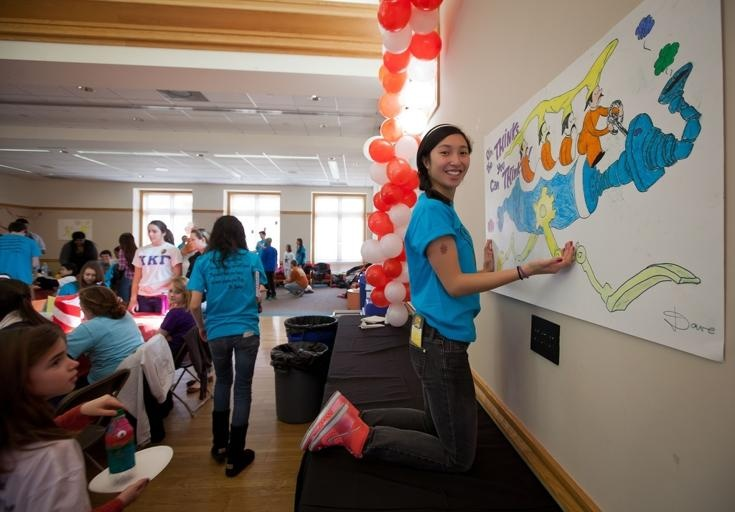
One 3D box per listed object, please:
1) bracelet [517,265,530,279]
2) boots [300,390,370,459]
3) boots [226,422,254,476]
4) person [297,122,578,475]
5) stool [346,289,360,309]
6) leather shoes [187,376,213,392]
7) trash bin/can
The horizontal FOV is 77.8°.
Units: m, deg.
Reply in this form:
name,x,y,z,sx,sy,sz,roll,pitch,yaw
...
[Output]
name,x,y,z,sx,sy,sz,roll,pitch,yaw
bracelet,0.665,0.074,1.961,0.047,0.074,0.119,3,10,19
boots,-0.157,0.824,2.252,0.378,0.241,0.160,37,-6,-17
boots,-0.870,1.290,3.099,0.150,0.300,0.314,0,-7,8
person,0.304,0.192,2.128,1.116,1.595,0.348,2,10,13
stool,-0.252,0.750,7.799,0.270,0.357,0.496,-1,1,1
leather shoes,-1.599,1.212,4.333,0.113,0.128,0.331,-2,-10,13
trash bin/can,-0.553,0.928,3.852,0.690,0.852,0.686,0,-1,-10
